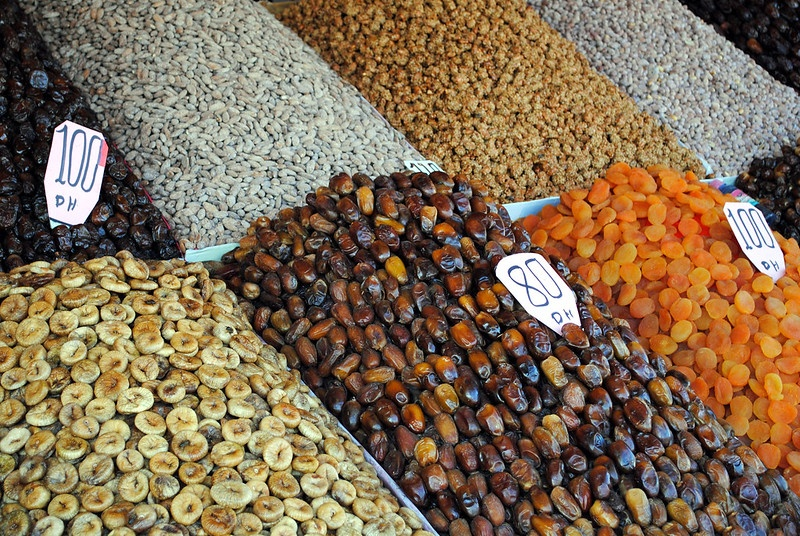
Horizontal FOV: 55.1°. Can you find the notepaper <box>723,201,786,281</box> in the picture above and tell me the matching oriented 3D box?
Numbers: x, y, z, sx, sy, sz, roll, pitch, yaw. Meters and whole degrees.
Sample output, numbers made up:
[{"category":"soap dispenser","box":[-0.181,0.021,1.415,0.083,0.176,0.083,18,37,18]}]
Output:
[{"category":"notepaper","box":[1.930,-0.148,4.162,0.319,0.038,0.469,-13,74,-46]}]

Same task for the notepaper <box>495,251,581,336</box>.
[{"category":"notepaper","box":[0.639,0.103,3.566,0.269,0.010,0.449,-16,59,-32]}]
